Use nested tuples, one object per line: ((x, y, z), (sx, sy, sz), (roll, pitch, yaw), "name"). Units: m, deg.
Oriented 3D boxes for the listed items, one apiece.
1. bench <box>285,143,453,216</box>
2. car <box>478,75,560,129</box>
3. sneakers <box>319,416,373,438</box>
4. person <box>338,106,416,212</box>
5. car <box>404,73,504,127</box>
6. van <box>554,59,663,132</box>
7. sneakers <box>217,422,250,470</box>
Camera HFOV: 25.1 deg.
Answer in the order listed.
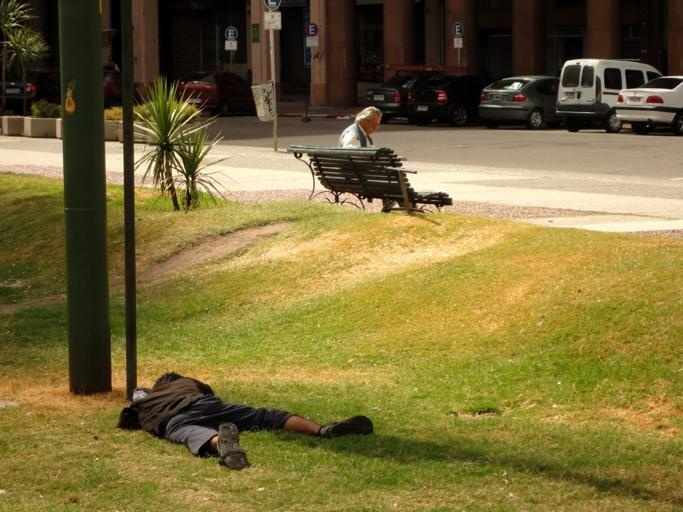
((0.339, -0.978, 20.575), (1.064, 0.863, 2.259), (-1, 7, -37), "bench")
((4.435, -3.846, 38.456), (1.116, 0.913, 1.963), (7, 16, 41), "car")
((0.024, 1.562, 14.056), (0.440, 0.201, 0.177), (-2, -7, -25), "sneakers")
((0.227, -1.390, 20.783), (0.743, 1.356, 0.804), (-7, 19, -43), "person")
((2.716, -3.891, 39.855), (1.758, 1.474, 1.709), (-7, 13, -23), "car")
((6.437, -3.957, 37.544), (1.977, 2.151, 2.054), (-14, 16, -40), "van")
((-0.998, 1.701, 13.706), (0.212, 0.378, 0.279), (-5, 7, -33), "sneakers")
